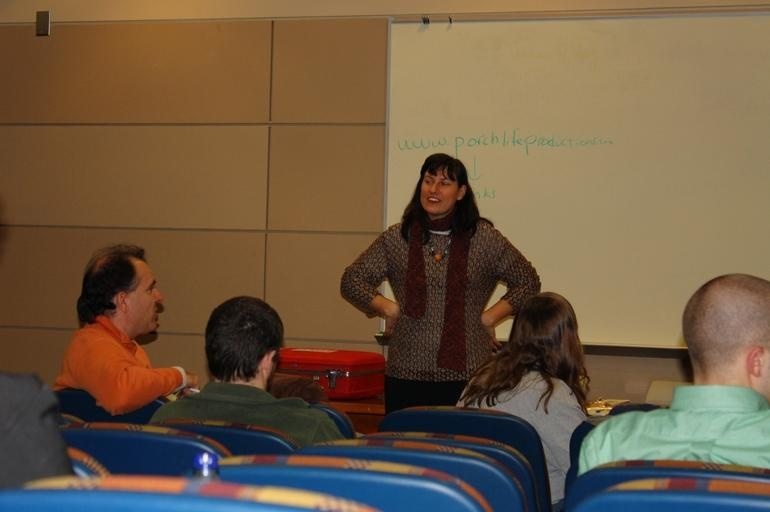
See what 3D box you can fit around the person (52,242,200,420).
[{"bbox_3d":[-1.083,0.338,2.687,0.546,0.660,0.861,-1,2,-19],"label":"person"}]
